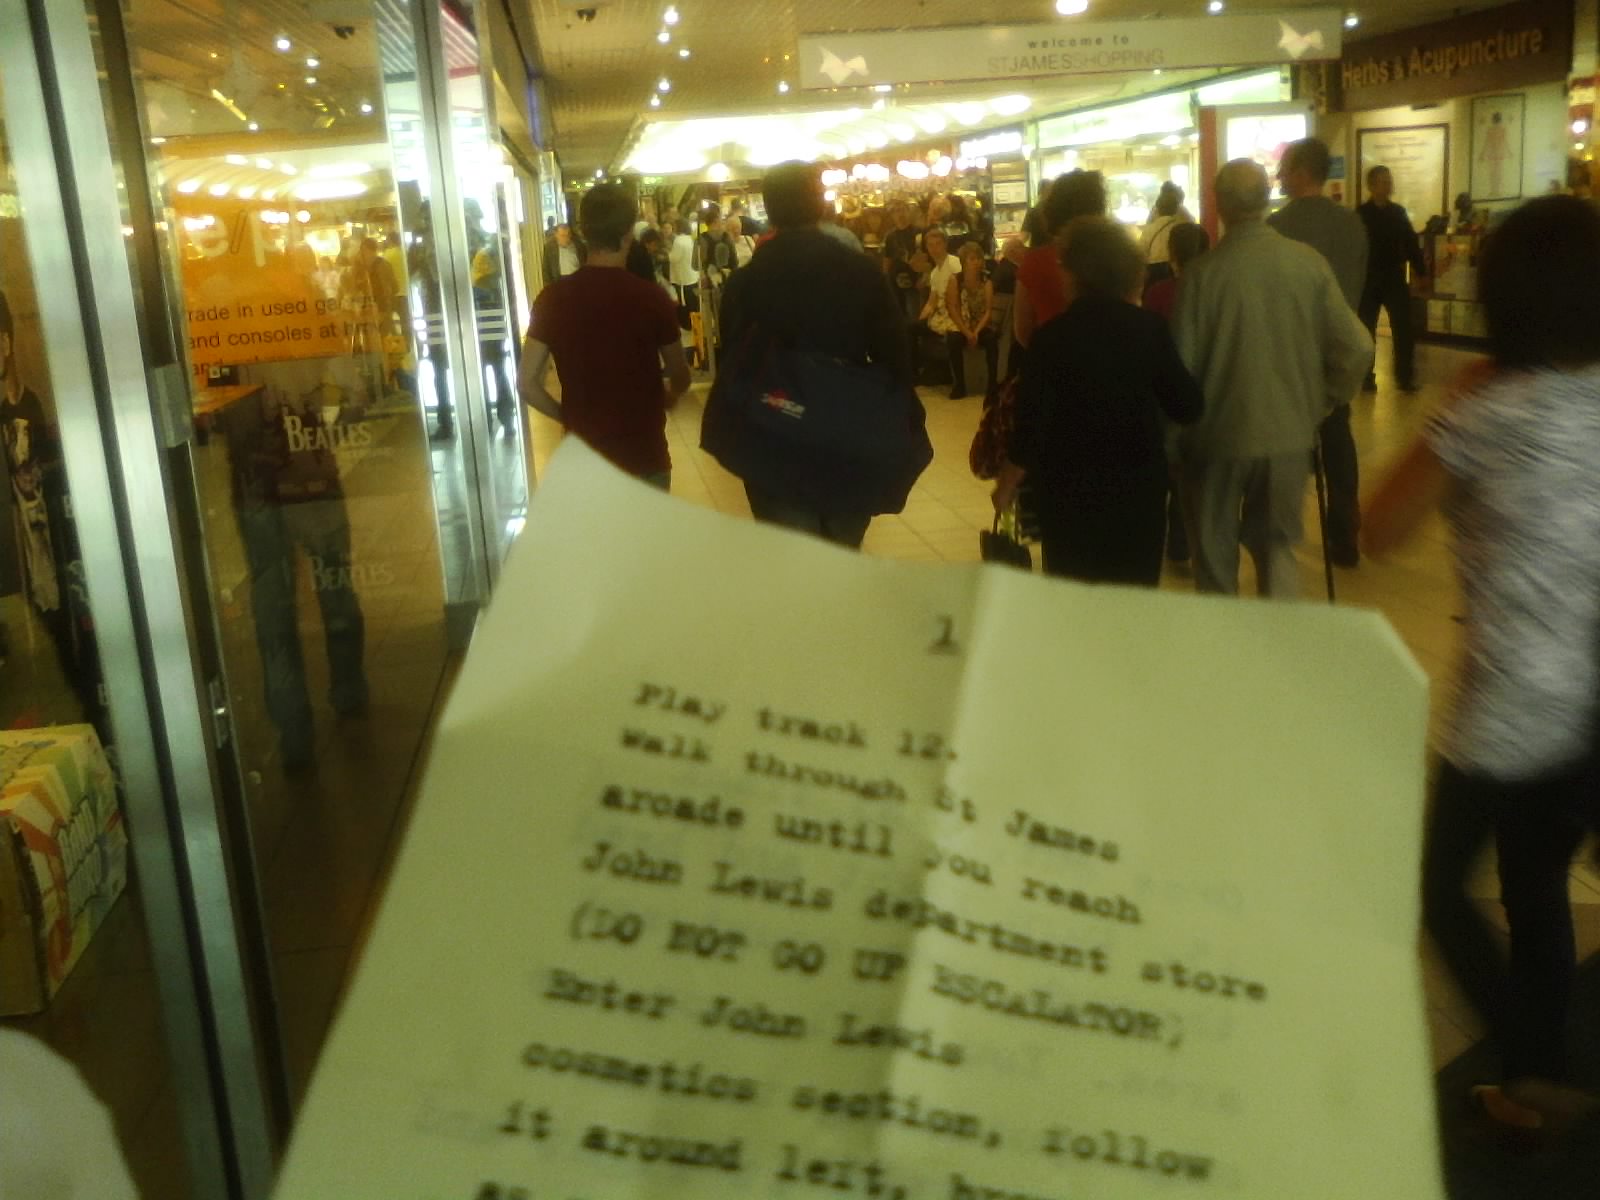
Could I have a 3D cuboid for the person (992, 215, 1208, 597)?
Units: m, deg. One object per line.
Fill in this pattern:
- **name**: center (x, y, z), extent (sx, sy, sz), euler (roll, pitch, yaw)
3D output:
- **person**: center (0.760, -0.488, 3.441), extent (0.470, 0.901, 0.351), euler (-1, 17, 9)
